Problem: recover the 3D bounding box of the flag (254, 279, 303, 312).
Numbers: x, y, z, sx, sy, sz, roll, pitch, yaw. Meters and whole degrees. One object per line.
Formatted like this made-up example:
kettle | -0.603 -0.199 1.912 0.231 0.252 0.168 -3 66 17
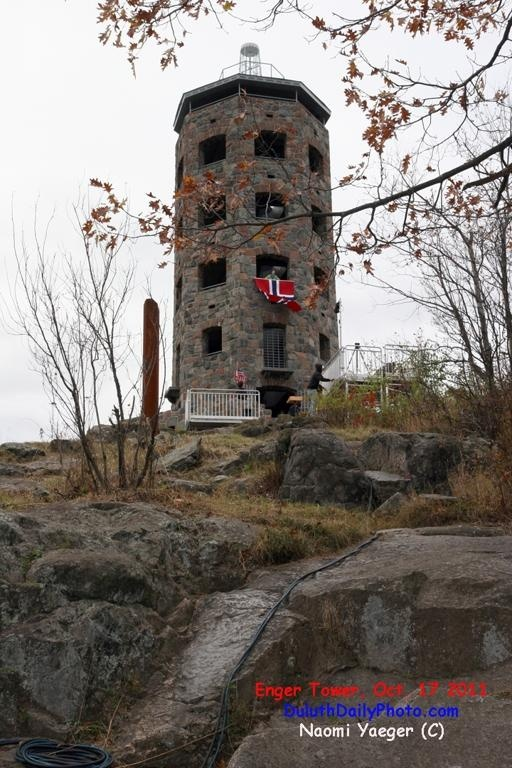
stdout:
flag | 0.708 -3.272 24.608 1.610 0.985 0.937 2 -15 -11
